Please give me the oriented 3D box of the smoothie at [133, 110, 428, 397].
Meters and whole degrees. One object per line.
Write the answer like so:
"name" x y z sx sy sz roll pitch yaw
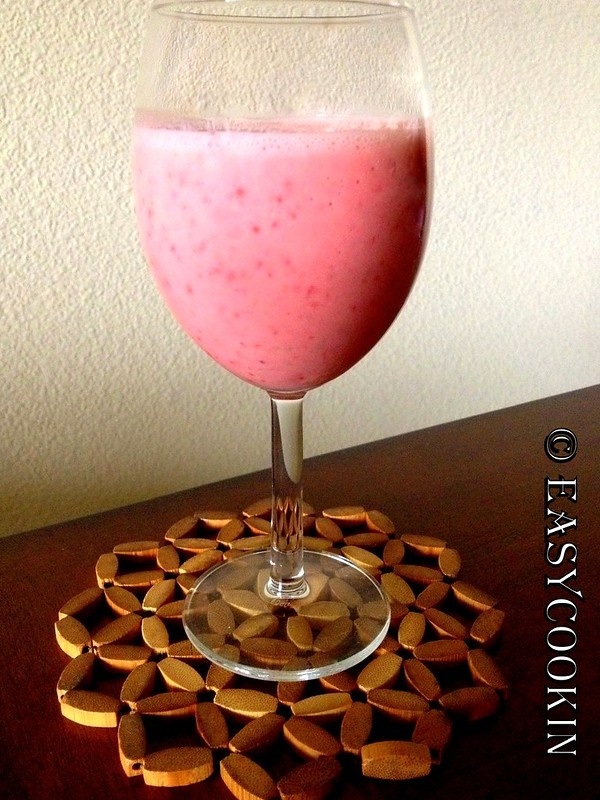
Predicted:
"smoothie" -0.001 -0.065 0.448 0.173 0.135 0.143 1 11 15
